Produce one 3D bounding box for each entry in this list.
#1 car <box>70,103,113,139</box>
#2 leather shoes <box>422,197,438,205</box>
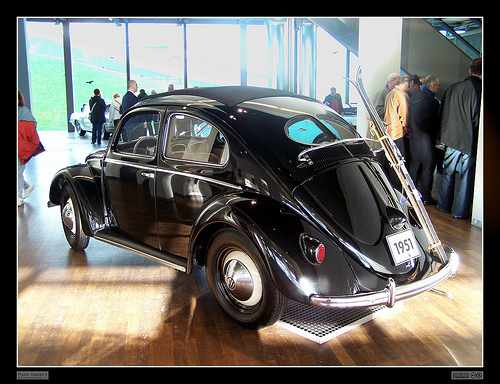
[{"bbox_3d":[-6.301,-3.002,12.745,1.578,1.319,3.504,-8,16,-34],"label":"car"},{"bbox_3d":[2.932,0.142,5.182,0.295,0.143,0.101,-4,9,-21],"label":"leather shoes"}]
